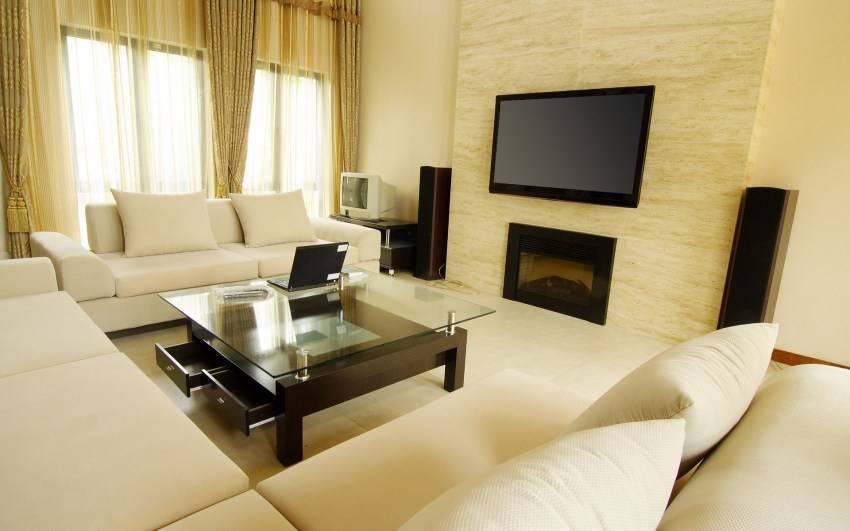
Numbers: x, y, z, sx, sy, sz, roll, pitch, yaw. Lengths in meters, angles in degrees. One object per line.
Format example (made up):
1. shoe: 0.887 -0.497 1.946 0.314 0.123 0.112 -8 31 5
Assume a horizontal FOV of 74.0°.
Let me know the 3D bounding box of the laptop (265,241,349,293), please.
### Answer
1. laptop: -0.825 -0.012 4.173 0.447 0.311 0.435 -7 19 -38

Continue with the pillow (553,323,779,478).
1. pillow: 0.990 0.576 2.653 0.624 0.526 1.001 -13 1 43

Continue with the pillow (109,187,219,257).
1. pillow: -2.248 -0.357 4.871 0.662 0.479 0.262 -7 4 -38

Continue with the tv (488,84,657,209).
1. tv: 1.387 -1.093 5.097 1.242 0.828 0.089 14 22 37

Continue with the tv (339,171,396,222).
1. tv: -0.672 -0.810 6.805 0.842 0.581 0.576 10 14 43
